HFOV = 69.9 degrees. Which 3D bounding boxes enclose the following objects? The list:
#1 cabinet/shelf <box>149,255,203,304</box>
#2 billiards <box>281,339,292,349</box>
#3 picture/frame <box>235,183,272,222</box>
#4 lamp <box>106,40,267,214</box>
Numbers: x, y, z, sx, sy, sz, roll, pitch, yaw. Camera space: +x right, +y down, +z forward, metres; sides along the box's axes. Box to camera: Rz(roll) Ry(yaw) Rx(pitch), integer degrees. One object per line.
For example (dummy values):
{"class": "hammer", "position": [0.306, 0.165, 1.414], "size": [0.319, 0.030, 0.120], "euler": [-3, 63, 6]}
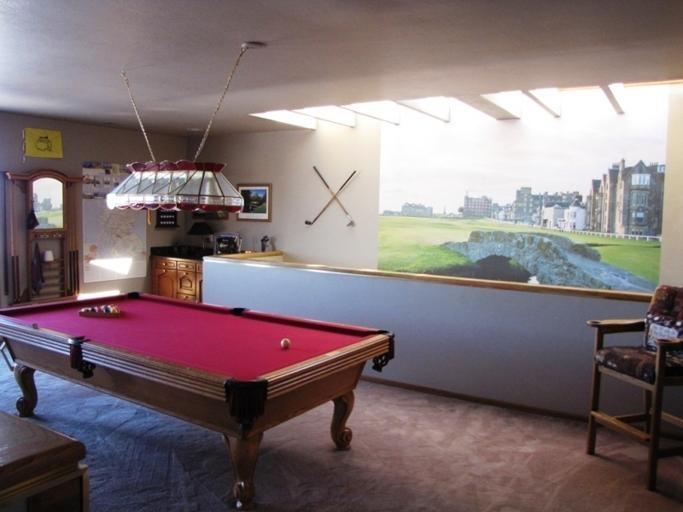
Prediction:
{"class": "cabinet/shelf", "position": [-2.479, 0.347, 7.427], "size": [0.672, 0.627, 0.288], "euler": [4, 3, 36]}
{"class": "billiards", "position": [-0.369, 0.580, 3.266], "size": [0.054, 0.053, 0.062], "euler": [32, 5, 36]}
{"class": "picture/frame", "position": [-1.318, -0.829, 7.506], "size": [0.824, 0.782, 0.054], "euler": [4, 5, 33]}
{"class": "lamp", "position": [-1.397, -1.085, 4.193], "size": [1.647, 1.365, 0.803], "euler": [2, 9, 14]}
